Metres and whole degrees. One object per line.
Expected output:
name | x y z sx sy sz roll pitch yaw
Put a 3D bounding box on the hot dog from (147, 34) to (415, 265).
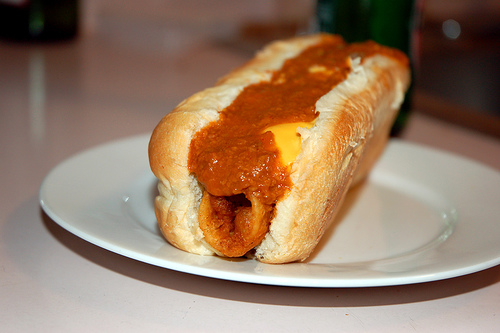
hot dog | 0.126 -0.033 1.185 0.379 0.250 0.681 24 48 29
